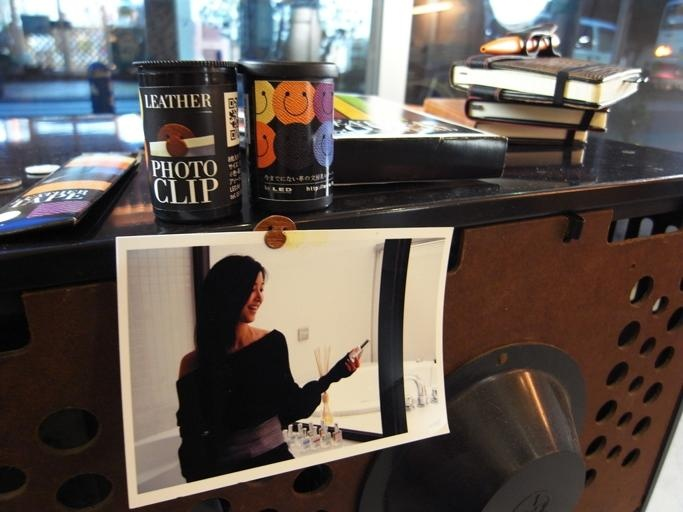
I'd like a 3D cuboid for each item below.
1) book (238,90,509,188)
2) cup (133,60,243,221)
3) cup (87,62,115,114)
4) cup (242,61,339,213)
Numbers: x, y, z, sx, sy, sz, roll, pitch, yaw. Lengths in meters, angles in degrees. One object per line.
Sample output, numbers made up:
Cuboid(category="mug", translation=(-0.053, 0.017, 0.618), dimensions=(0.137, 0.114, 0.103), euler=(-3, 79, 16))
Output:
Cuboid(category="book", translation=(0.096, -0.149, 0.746), dimensions=(0.200, 0.044, 0.220), euler=(-6, 24, -19))
Cuboid(category="cup", translation=(-0.164, -0.130, 0.615), dimensions=(0.105, 0.168, 0.105), euler=(1, 21, -1))
Cuboid(category="cup", translation=(-0.728, -0.507, 1.694), dimensions=(0.061, 0.146, 0.076), euler=(-11, 27, -21))
Cuboid(category="cup", translation=(-0.060, -0.139, 0.643), dimensions=(0.108, 0.157, 0.101), euler=(1, 14, 0))
